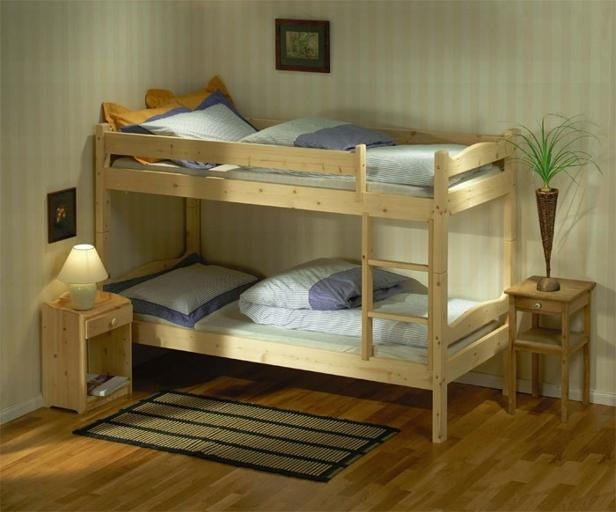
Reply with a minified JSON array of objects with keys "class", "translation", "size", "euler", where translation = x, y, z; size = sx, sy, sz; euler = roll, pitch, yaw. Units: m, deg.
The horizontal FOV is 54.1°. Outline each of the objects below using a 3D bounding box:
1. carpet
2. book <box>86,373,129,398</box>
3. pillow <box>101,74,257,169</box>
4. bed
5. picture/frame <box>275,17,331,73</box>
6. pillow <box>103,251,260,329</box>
[{"class":"carpet","translation":[-0.388,0.956,3.292],"size":[1.528,0.026,0.696],"euler":[4,10,23]},{"class":"book","translation":[-1.248,0.793,3.691],"size":[0.166,0.034,0.153],"euler":[6,9,31]},{"class":"pillow","translation":[-0.800,-0.871,4.142],"size":[0.865,0.243,0.850],"euler":[25,25,24]},{"class":"bed","translation":[-0.040,0.020,3.851],"size":[2.391,1.700,1.031],"euler":[5,13,26]},{"class":"picture/frame","translation":[-0.022,-1.472,4.176],"size":[0.576,0.337,0.038],"euler":[4,14,22]},{"class":"pillow","translation":[-0.736,0.217,4.047],"size":[0.560,0.117,0.604],"euler":[12,18,33]}]
